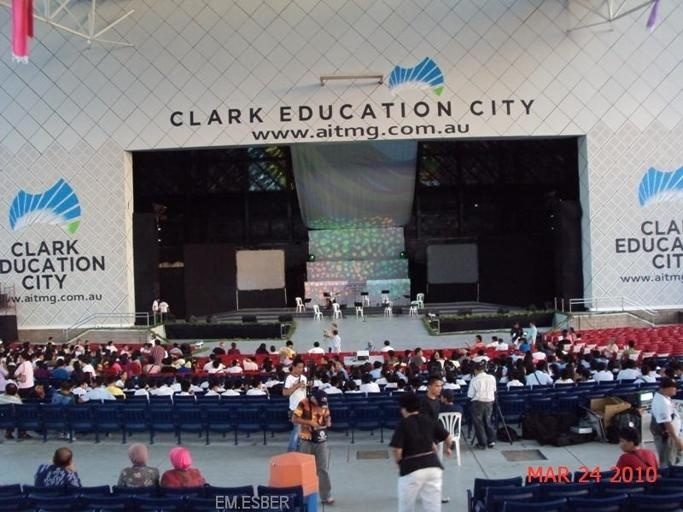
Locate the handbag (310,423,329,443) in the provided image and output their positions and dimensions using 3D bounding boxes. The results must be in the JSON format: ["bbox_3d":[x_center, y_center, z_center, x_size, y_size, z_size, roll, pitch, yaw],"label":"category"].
[{"bbox_3d":[-0.656,5.103,33.392,0.617,0.472,0.375,1,-15,-13],"label":"handbag"}]

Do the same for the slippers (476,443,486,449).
[{"bbox_3d":[4.146,5.730,35.334,0.316,0.207,0.128,-10,-9,41],"label":"slippers"}]

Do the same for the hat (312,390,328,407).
[{"bbox_3d":[-0.601,4.046,33.407,0.355,0.507,0.478,5,-6,-25],"label":"hat"}]

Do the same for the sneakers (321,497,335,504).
[{"bbox_3d":[-0.404,6.954,33.280,0.361,0.174,0.151,-5,-2,15],"label":"sneakers"}]
